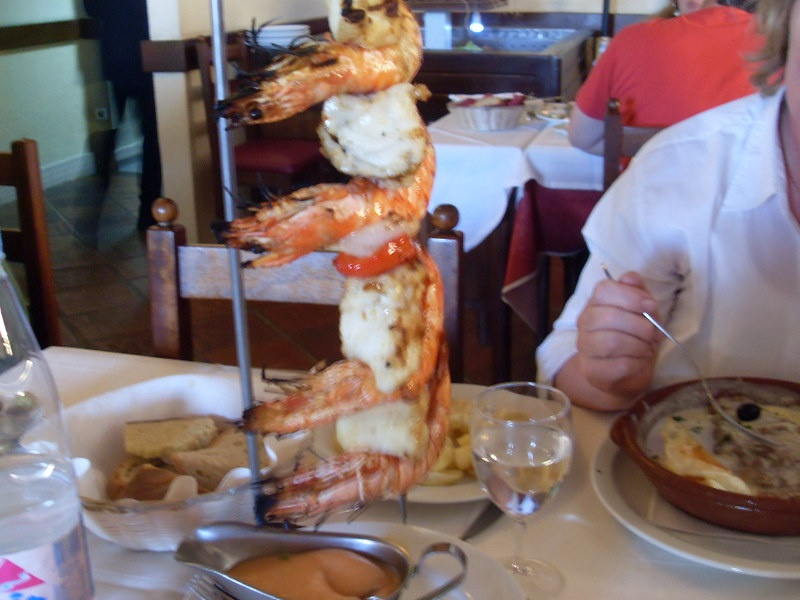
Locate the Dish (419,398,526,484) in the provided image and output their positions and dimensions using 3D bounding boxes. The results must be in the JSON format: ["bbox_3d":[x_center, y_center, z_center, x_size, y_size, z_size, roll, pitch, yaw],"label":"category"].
[{"bbox_3d":[0.080,0.155,0.742,0.093,0.015,0.092,2,22,28],"label":"Dish"}]

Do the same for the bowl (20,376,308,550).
[{"bbox_3d":[-0.260,0.172,0.711,0.193,0.054,0.185,0,29,0],"label":"bowl"}]

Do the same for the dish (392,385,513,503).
[{"bbox_3d":[0.059,0.149,0.697,0.113,0.018,0.108,1,17,13],"label":"dish"}]

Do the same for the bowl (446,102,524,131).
[{"bbox_3d":[0.316,-0.644,2.357,0.153,0.050,0.145,-3,23,1],"label":"bowl"}]

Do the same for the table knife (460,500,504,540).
[{"bbox_3d":[0.089,0.228,0.704,0.019,0.010,0.073,30,43,27],"label":"table knife"}]

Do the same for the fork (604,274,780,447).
[{"bbox_3d":[0.308,0.030,0.823,0.042,0.039,0.353,-35,76,-27],"label":"fork"}]
